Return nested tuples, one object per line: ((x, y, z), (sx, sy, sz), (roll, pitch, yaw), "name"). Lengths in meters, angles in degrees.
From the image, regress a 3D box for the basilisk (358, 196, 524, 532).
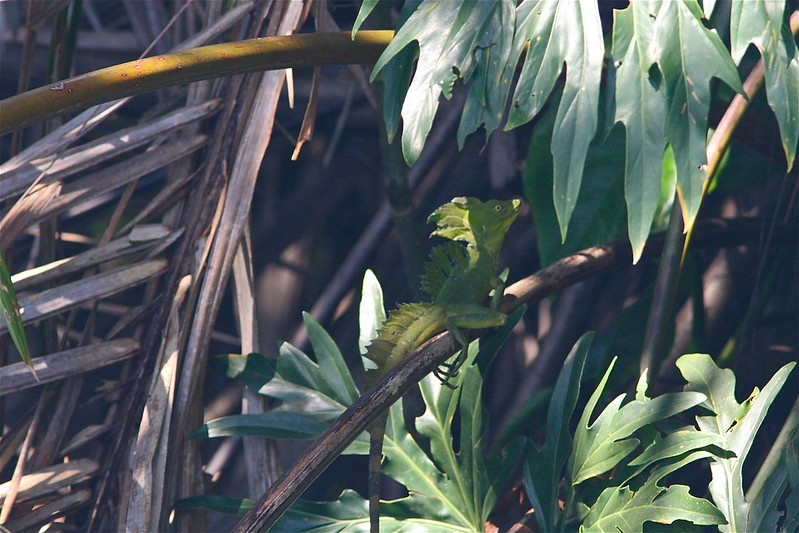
((0.079, 0.225, 3.430), (0.264, 0.700, 0.164), (33, -3, -27), "basilisk")
